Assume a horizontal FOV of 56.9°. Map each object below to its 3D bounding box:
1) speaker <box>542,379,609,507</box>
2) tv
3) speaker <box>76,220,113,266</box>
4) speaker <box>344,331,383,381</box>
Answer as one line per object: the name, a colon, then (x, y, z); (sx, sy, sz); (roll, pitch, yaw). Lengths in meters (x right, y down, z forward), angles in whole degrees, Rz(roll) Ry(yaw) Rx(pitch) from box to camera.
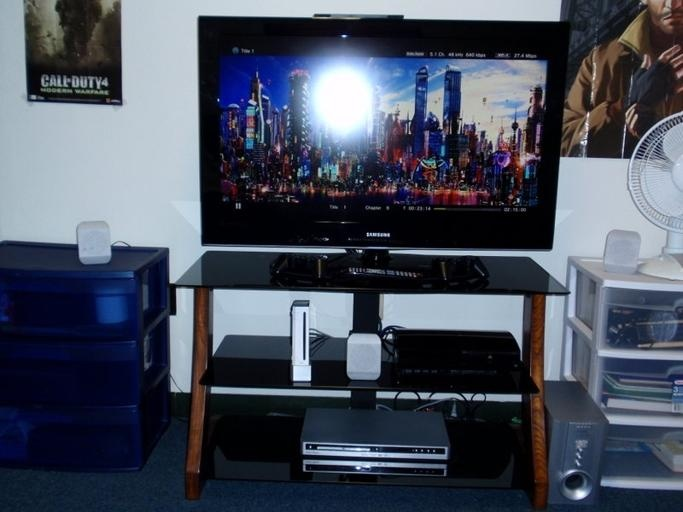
speaker: (1.048, 0.858, 2.916); (0.254, 0.464, 0.310); (3, 12, 7)
tv: (0.178, -0.505, 2.931); (1.226, 0.843, 0.068); (1, 15, 1)
speaker: (-1.133, -0.052, 2.895); (0.151, 0.212, 0.046); (1, 0, -18)
speaker: (0.110, 0.436, 2.863); (0.206, 0.234, 0.166); (1, -4, 19)
